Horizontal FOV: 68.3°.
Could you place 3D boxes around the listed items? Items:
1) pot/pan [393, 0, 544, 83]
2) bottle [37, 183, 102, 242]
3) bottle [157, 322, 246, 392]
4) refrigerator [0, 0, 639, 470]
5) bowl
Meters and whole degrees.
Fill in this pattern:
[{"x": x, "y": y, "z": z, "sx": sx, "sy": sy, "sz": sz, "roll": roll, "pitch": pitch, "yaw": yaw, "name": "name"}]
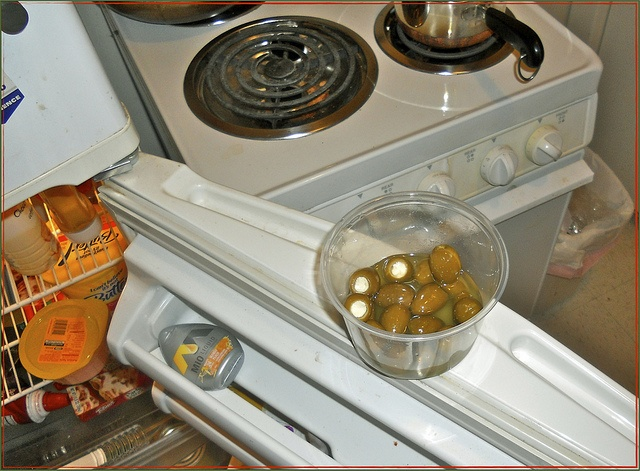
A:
[{"x": 0.271, "y": -0.404, "z": 0.929, "sx": 0.153, "sy": 0.104, "sz": 0.287, "roll": -20, "pitch": 54, "yaw": -22, "name": "pot/pan"}, {"x": -0.480, "y": -0.039, "z": 0.944, "sx": 0.066, "sy": 0.137, "sz": 0.079, "roll": -28, "pitch": 52, "yaw": -6, "name": "bottle"}, {"x": -0.183, "y": 0.189, "z": 0.735, "sx": 0.115, "sy": 0.038, "sz": 0.081, "roll": 23, "pitch": 65, "yaw": 21, "name": "bottle"}, {"x": -0.061, "y": -0.018, "z": 0.819, "sx": 0.512, "sy": 0.809, "sz": 0.632, "roll": -32, "pitch": 57, "yaw": -22, "name": "refrigerator"}, {"x": 0.119, "y": 0.084, "z": 0.634, "sx": 0.240, "sy": 0.149, "sz": 0.242, "roll": -6, "pitch": 48, "yaw": 6, "name": "bowl"}]
